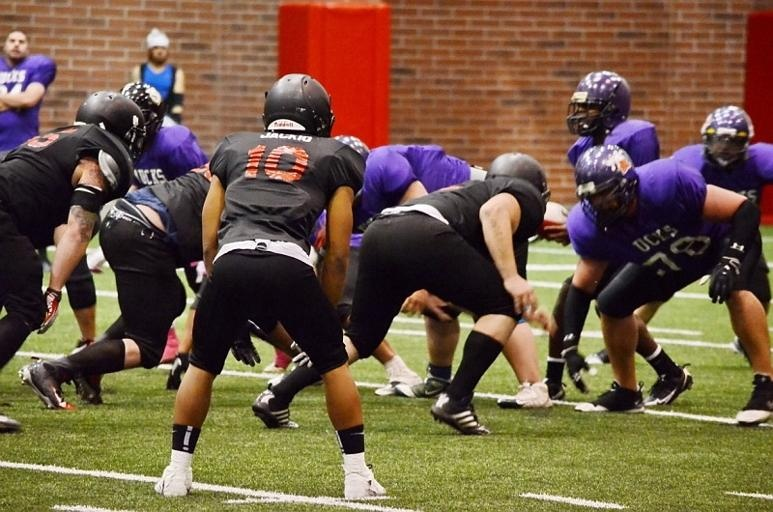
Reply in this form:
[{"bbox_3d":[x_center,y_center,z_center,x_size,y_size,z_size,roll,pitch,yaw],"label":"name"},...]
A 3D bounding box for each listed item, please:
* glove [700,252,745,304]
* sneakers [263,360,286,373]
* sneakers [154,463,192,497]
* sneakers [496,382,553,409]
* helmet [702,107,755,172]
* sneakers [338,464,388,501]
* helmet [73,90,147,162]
[{"bbox_3d":[2.033,0.140,6.769,0.185,0.312,0.122,34,-9,-3],"label":"glove"},{"bbox_3d":[-0.789,0.790,8.103,0.207,0.087,0.071,2,-6,19],"label":"sneakers"},{"bbox_3d":[-1.074,1.133,5.718,0.202,0.151,0.154,-3,10,-25],"label":"sneakers"},{"bbox_3d":[0.917,0.902,7.371,0.396,0.171,0.143,2,-8,-10],"label":"sneakers"},{"bbox_3d":[2.253,-0.790,7.397,0.320,0.386,0.413,5,11,23],"label":"helmet"},{"bbox_3d":[-0.123,1.159,5.694,0.281,0.199,0.110,2,-6,-22],"label":"sneakers"},{"bbox_3d":[-1.701,-0.825,7.055,0.350,0.422,0.453,18,9,40],"label":"helmet"}]
